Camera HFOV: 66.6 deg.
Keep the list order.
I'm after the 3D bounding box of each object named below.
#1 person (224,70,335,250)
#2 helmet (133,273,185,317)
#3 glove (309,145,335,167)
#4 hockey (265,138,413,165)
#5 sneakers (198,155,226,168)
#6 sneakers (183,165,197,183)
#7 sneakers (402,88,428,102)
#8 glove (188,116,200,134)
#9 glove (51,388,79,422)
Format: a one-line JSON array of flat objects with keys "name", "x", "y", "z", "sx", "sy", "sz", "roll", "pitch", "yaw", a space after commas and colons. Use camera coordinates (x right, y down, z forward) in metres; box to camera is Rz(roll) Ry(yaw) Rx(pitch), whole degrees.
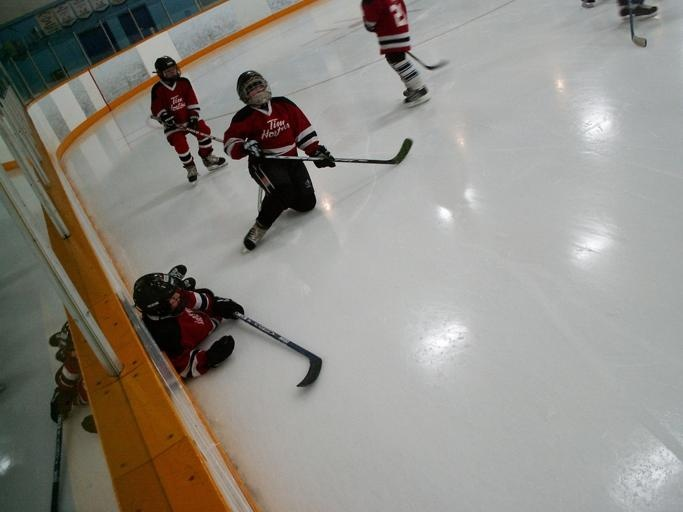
[{"name": "person", "x": -0.483, "y": -0.694, "z": 3.452, "sx": 0.767, "sy": 0.976, "sz": 0.459, "roll": -27, "pitch": 29, "yaw": -9}, {"name": "helmet", "x": -0.969, "y": 0.229, "z": 2.810, "sx": 0.226, "sy": 0.202, "sz": 0.235, "roll": -16, "pitch": -14, "yaw": 8}, {"name": "glove", "x": -0.134, "y": -0.664, "z": 3.540, "sx": 0.139, "sy": 0.146, "sz": 0.064, "roll": -4, "pitch": -28, "yaw": -48}, {"name": "hockey", "x": -0.003, "y": -0.743, "z": 3.726, "sx": 1.432, "sy": 0.132, "sz": 0.263, "roll": 2, "pitch": -9, "yaw": 9}, {"name": "sneakers", "x": -1.181, "y": -0.852, "z": 4.754, "sx": 0.198, "sy": 0.146, "sz": 0.109, "roll": -10, "pitch": 54, "yaw": -7}, {"name": "sneakers", "x": -1.355, "y": -0.739, "z": 4.674, "sx": 0.100, "sy": 0.153, "sz": 0.135, "roll": -31, "pitch": 30, "yaw": -18}, {"name": "sneakers", "x": 0.622, "y": -1.335, "z": 4.360, "sx": 0.235, "sy": 0.103, "sz": 0.091, "roll": -1, "pitch": 56, "yaw": 52}, {"name": "glove", "x": -1.337, "y": -1.183, "z": 4.714, "sx": 0.087, "sy": 0.131, "sz": 0.045, "roll": -8, "pitch": -11, "yaw": 4}, {"name": "glove", "x": -1.441, "y": 0.777, "z": 2.734, "sx": 0.112, "sy": 0.173, "sz": 0.059, "roll": 9, "pitch": -17, "yaw": 19}]
